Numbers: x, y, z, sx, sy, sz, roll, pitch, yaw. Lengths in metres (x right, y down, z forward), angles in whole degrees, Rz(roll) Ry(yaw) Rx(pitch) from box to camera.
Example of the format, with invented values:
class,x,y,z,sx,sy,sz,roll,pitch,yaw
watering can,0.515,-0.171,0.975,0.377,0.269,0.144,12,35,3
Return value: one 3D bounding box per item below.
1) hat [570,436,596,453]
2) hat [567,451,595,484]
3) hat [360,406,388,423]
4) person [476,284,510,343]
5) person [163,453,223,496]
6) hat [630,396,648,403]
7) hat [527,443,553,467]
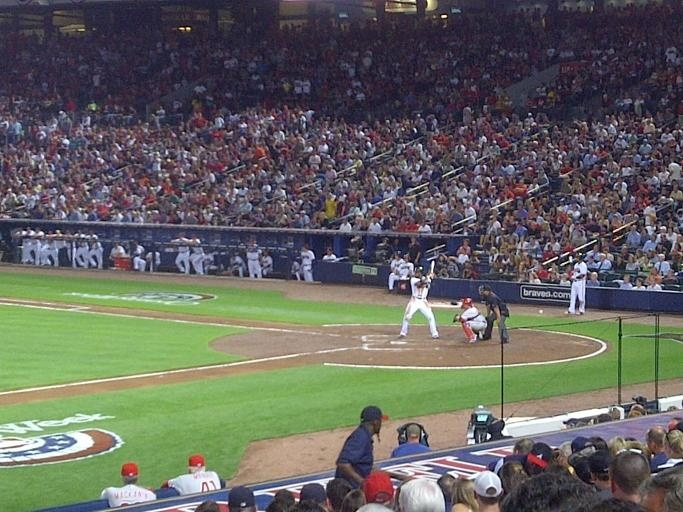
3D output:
class,x,y,z,sx,sy,sz,roll,pitch,yaw
hat,7.067,5.647,41.986,0.552,0.496,0.419,2,-7,25
hat,6.868,6.215,40.994,0.767,0.687,0.593,-1,5,3
hat,0.939,4.730,41.876,0.674,0.383,0.462,-8,11,-21
person,6.001,2.191,54.897,1.000,2.322,1.207,-2,7,-25
person,-4.400,6.652,42.613,1.683,1.076,0.780,-1,2,-5
hat,9.913,4.874,47.342,0.365,0.139,0.259,-4,6,-33
hat,5.782,5.829,41.335,0.688,0.573,0.683,-1,2,8
